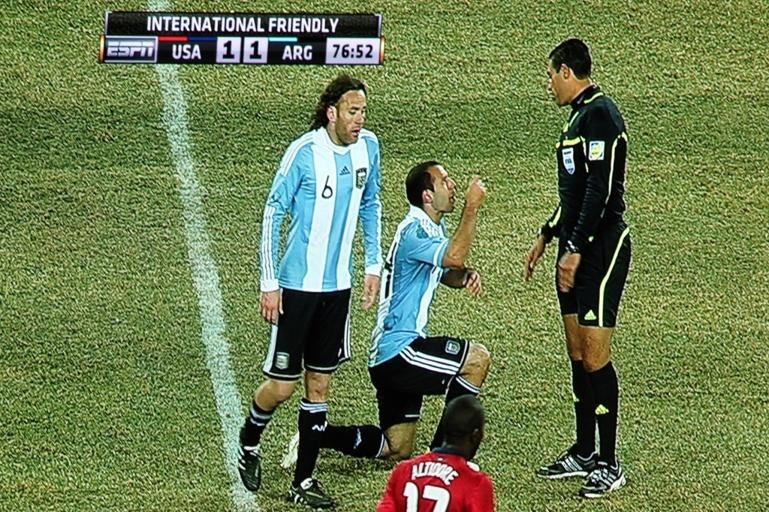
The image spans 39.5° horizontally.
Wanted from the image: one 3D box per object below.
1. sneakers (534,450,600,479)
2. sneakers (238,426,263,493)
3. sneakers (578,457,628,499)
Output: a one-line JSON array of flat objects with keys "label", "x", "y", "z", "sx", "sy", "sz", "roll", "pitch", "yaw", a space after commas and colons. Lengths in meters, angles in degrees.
[{"label": "sneakers", "x": 0.959, "y": 1.108, "z": 5.662, "sx": 0.336, "sy": 0.167, "sz": 0.123, "roll": 1, "pitch": -1, "yaw": 1}, {"label": "sneakers", "x": -0.714, "y": 1.060, "z": 5.612, "sx": 0.117, "sy": 0.373, "sz": 0.149, "roll": -9, "pitch": 8, "yaw": -22}, {"label": "sneakers", "x": 1.132, "y": 1.166, "z": 5.567, "sx": 0.283, "sy": 0.145, "sz": 0.121, "roll": -28, "pitch": 28, "yaw": -15}]
